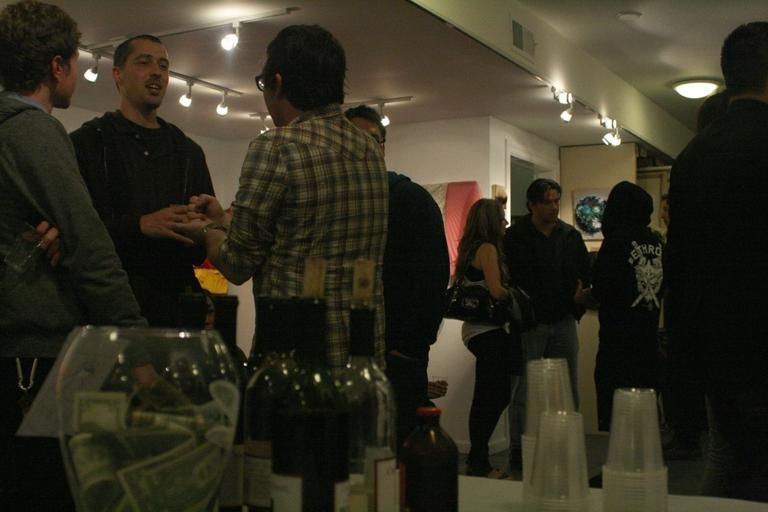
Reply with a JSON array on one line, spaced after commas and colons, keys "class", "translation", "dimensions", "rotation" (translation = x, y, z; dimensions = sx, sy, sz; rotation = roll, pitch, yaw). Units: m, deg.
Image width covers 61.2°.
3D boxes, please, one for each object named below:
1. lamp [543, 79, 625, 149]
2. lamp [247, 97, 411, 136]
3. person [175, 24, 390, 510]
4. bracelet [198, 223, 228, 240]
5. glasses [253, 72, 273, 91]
[{"class": "lamp", "translation": [1.276, -0.924, 4.184], "dimensions": [0.564, 0.154, 0.110], "rotation": [36, -41, 0]}, {"class": "lamp", "translation": [-0.301, -0.784, 3.458], "dimensions": [0.893, 0.182, 0.092], "rotation": [-1, -6, -4]}, {"class": "person", "translation": [-0.197, 0.053, 1.654], "dimensions": [0.481, 1.185, 0.448], "rotation": [-4, 2, -36]}, {"class": "bracelet", "translation": [-0.405, -0.062, 1.544], "dimensions": [0.057, 0.036, 0.057], "rotation": [-14, -13, 17]}, {"class": "glasses", "translation": [-0.298, -0.428, 1.598], "dimensions": [0.065, 0.021, 0.063], "rotation": [-6, 0, -26]}]
